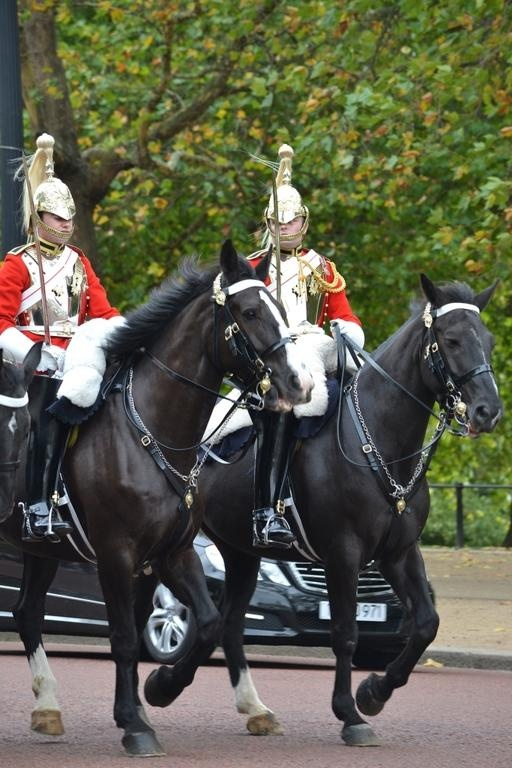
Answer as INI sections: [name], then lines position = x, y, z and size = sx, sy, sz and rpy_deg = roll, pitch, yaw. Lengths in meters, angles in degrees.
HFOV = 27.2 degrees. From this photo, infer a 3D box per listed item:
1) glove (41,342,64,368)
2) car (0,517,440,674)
[glove]
position = -1.081, -0.150, 5.598
size = 0.117, 0.113, 0.107
rpy_deg = 9, 9, 32
[car]
position = -0.339, 1.425, 7.750
size = 2.647, 0.908, 1.339
rpy_deg = -4, -8, 24
